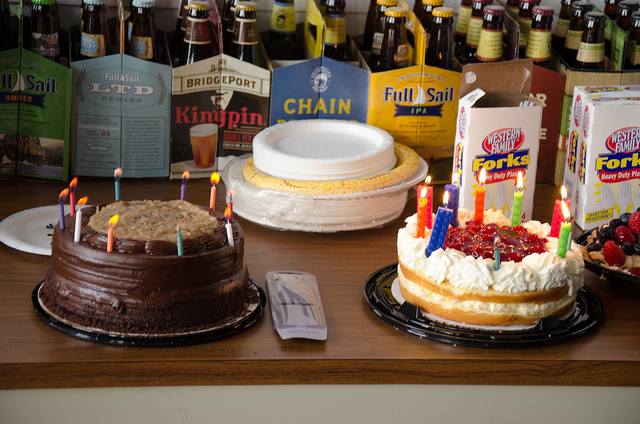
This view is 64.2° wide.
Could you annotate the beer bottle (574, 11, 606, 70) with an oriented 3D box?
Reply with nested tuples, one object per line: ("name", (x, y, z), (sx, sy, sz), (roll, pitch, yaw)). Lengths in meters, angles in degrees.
("beer bottle", (0.817, -0.508, 1.519), (0.085, 0.161, 0.152), (10, 23, 25))

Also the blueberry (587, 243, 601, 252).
("blueberry", (0.648, 0.083, 1.206), (0.023, 0.018, 0.018), (-4, 2, 2))

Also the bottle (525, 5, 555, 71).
("bottle", (0.668, -0.526, 1.539), (0.071, 0.174, 0.079), (6, 21, 17))

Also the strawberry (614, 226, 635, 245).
("strawberry", (0.710, 0.052, 1.188), (0.044, 0.031, 0.025), (41, 17, 11))

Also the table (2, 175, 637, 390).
("table", (0.000, 0.207, 1.127), (1.442, 0.168, 0.534), (-4, 21, -10))

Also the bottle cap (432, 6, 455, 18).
("bottle cap", (0.355, -0.582, 1.485), (0.064, 0.027, 0.048), (12, 24, 29))

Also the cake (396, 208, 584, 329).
("cake", (0.367, 0.108, 1.120), (0.351, 0.120, 0.350), (18, 23, 37))

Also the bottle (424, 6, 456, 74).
("bottle", (0.364, -0.514, 1.520), (0.087, 0.179, 0.126), (5, 21, 13))

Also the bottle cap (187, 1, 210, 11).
("bottle cap", (-0.332, -0.570, 1.409), (0.053, 0.024, 0.036), (-6, 22, -16))

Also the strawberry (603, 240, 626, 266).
("strawberry", (0.668, 0.095, 1.155), (0.040, 0.058, 0.035), (-22, 7, -11))

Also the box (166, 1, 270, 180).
("box", (-0.302, -0.326, 1.586), (0.262, 0.581, 0.205), (-4, 28, -2))

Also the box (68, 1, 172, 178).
("box", (-0.611, -0.333, 1.583), (0.269, 0.574, 0.231), (-9, 26, -12))

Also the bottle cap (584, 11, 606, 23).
("bottle cap", (0.791, -0.571, 1.473), (0.044, 0.041, 0.044), (0, 23, -1))

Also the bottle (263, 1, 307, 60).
("bottle", (-0.111, -0.582, 1.639), (0.098, 0.231, 0.098), (1, 49, -1))

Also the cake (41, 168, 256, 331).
("cake", (-0.360, 0.065, 1.084), (0.401, 0.213, 0.404), (5, 13, -8))

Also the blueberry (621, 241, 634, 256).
("blueberry", (0.706, 0.083, 1.168), (0.023, 0.023, 0.031), (1, 1, 3))

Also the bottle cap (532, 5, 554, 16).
("bottle cap", (0.660, -0.595, 1.508), (0.057, 0.026, 0.064), (7, 22, 18))

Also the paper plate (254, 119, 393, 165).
("paper plate", (0.022, -0.197, 1.414), (0.391, 0.043, 0.379), (-8, 25, -23))

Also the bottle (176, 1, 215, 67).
("bottle", (-0.351, -0.513, 1.471), (0.113, 0.219, 0.095), (-6, 56, -19))

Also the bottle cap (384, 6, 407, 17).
("bottle cap", (0.223, -0.576, 1.463), (0.060, 0.029, 0.065), (13, 25, 31))

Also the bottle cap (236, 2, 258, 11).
("bottle cap", (-0.206, -0.579, 1.436), (0.049, 0.022, 0.029), (-9, 22, -21))

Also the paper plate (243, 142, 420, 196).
("paper plate", (0.038, -0.186, 1.461), (0.506, 0.055, 0.485), (9, 17, 13))

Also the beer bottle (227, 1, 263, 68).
("beer bottle", (-0.224, -0.519, 1.502), (0.107, 0.251, 0.107), (5, 43, -5))

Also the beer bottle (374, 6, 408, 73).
("beer bottle", (0.215, -0.508, 1.504), (0.099, 0.185, 0.092), (0, 21, 0))

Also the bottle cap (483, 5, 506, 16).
("bottle cap", (0.489, -0.567, 1.431), (0.057, 0.028, 0.079), (6, 22, 15))

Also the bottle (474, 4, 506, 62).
("bottle", (0.492, -0.506, 1.452), (0.074, 0.152, 0.077), (0, 21, 0))
